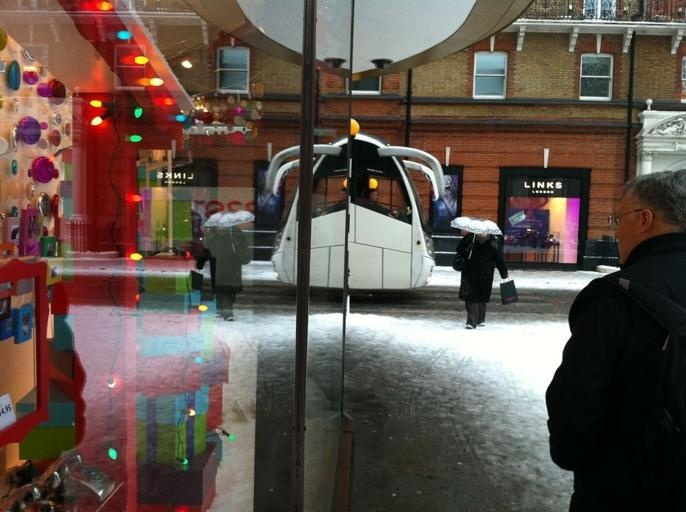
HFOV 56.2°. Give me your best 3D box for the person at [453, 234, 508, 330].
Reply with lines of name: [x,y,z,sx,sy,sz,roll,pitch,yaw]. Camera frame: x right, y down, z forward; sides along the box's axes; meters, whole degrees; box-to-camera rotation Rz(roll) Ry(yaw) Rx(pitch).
person: [1.805,0.307,8.529,0.678,1.252,0.548,1,5,11]

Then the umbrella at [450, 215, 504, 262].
umbrella: [1.794,-0.269,8.572,0.426,0.174,0.431,18,8,-16]

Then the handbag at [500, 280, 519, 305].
handbag: [2.090,0.448,8.188,0.186,0.335,0.467,1,5,13]

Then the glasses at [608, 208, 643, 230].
glasses: [1.055,-0.144,2.404,0.102,0.031,0.106,-6,7,14]

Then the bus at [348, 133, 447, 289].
bus: [0.775,-0.720,10.278,1.558,2.442,0.904,-1,5,-17]
